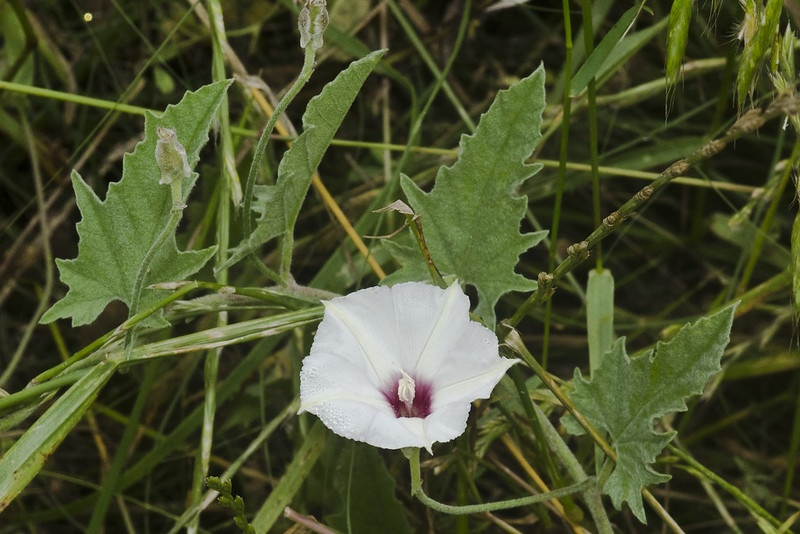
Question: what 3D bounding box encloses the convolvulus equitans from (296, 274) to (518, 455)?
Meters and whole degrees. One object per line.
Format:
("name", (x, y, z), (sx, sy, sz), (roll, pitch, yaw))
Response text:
("convolvulus equitans", (0.020, 0.232, 1.919), (0.498, 0.091, 0.396), (-1, 75, 4))
